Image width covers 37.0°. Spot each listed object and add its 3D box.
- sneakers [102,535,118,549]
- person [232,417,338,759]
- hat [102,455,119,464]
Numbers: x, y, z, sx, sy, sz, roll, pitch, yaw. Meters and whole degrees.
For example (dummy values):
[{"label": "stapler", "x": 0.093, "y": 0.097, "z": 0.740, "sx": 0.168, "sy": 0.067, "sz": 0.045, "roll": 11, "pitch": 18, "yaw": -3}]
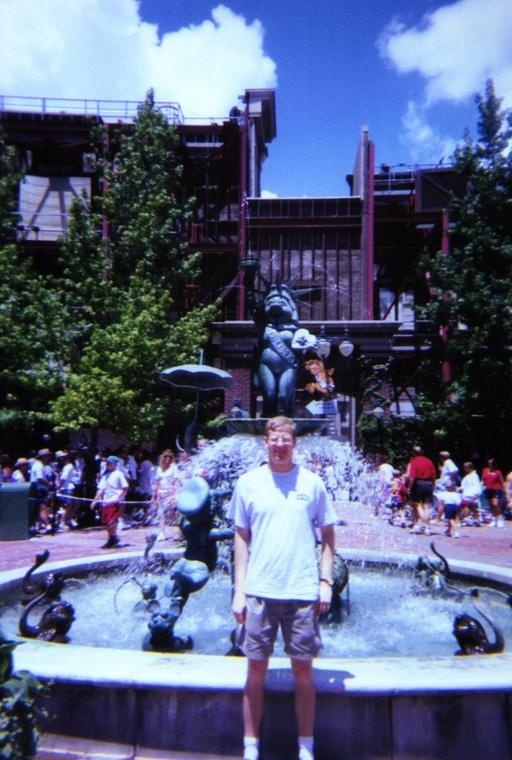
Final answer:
[{"label": "sneakers", "x": -1.878, "y": 2.125, "z": 10.052, "sx": 0.261, "sy": 0.203, "sz": 0.104, "roll": 2, "pitch": -2, "yaw": 10}, {"label": "person", "x": 0.124, "y": 0.855, "z": 3.242, "sx": 0.456, "sy": 1.354, "sz": 0.359, "roll": 0, "pitch": 2, "yaw": -2}, {"label": "hat", "x": -1.812, "y": 1.048, "z": 9.760, "sx": 0.148, "sy": 0.108, "sz": 0.209, "roll": 5, "pitch": 5, "yaw": -27}]
